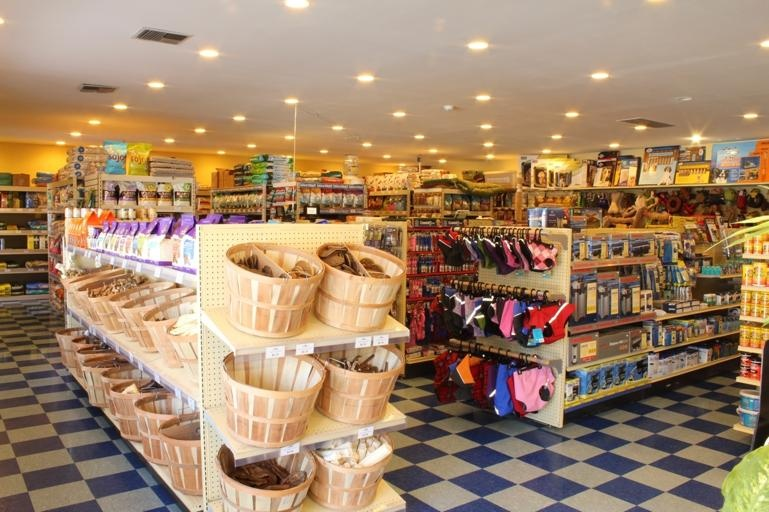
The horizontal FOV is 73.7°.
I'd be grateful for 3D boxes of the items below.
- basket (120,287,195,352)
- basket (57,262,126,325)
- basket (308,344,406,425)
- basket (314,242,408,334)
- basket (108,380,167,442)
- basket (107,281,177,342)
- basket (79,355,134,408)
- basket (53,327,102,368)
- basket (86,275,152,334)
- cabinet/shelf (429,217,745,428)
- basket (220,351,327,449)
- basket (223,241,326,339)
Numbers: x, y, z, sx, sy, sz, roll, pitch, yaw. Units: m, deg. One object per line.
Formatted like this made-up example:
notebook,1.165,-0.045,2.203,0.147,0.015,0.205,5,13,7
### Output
basket,-2.117,0.555,4.686,0.653,0.284,0.584,-1,7,-3
basket,-3.408,0.379,5.951,0.893,0.462,0.852,-1,1,-17
basket,-0.217,0.922,3.750,0.722,0.357,0.653,7,9,13
basket,-0.172,0.211,3.596,0.603,0.536,0.552,1,10,-6
basket,-2.353,1.451,4.855,0.619,0.392,0.584,2,1,1
basket,-2.222,0.509,4.721,0.622,0.313,0.583,2,5,15
basket,-2.993,1.268,5.429,0.344,0.229,0.318,-13,20,-43
basket,-3.661,1.035,6.047,0.604,0.391,0.583,8,4,-24
basket,-2.740,0.457,5.213,0.683,0.338,0.652,1,5,-2
cabinet/shelf,2.286,0.833,5.923,2.899,1.125,0.926,-3,5,-35
basket,-0.737,0.951,3.419,0.685,0.522,0.433,1,10,-4
basket,-0.726,0.218,3.417,0.625,0.540,0.561,0,10,-14
